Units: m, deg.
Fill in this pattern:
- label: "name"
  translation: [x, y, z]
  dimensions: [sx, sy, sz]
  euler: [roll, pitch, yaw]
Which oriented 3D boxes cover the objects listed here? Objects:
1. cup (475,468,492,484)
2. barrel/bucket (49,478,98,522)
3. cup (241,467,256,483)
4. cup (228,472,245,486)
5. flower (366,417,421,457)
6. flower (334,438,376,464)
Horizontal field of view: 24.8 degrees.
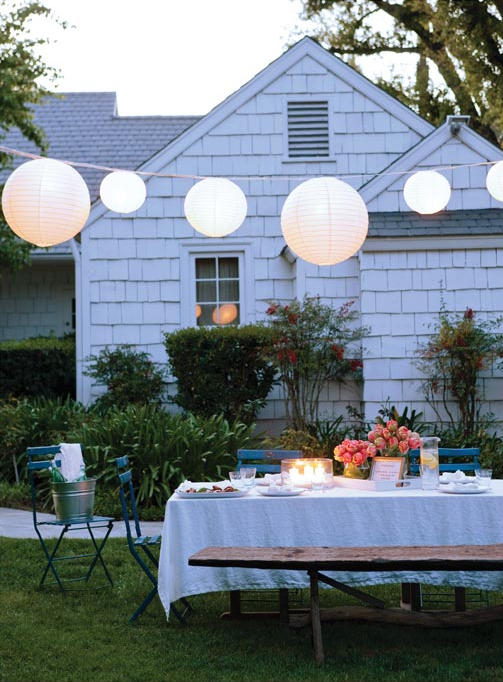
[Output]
- label: "cup"
  translation: [1.477, 0.846, 7.321]
  dimensions: [0.093, 0.075, 0.087]
  euler: [3, -9, 0]
- label: "barrel/bucket"
  translation: [-1.230, 1.091, 7.945]
  dimensions: [0.348, 0.280, 0.331]
  euler: [-3, -5, 0]
- label: "cup"
  translation: [-0.021, 0.852, 7.472]
  dimensions: [0.085, 0.094, 0.084]
  euler: [1, 3, 0]
- label: "cup"
  translation: [-0.100, 0.875, 7.440]
  dimensions: [0.081, 0.071, 0.089]
  euler: [-2, -6, 0]
- label: "flower"
  translation: [0.931, 0.622, 7.545]
  dimensions: [0.258, 0.266, 0.256]
  euler: [5, 3, 9]
- label: "flower"
  translation: [0.670, 0.706, 7.494]
  dimensions: [0.178, 0.125, 0.187]
  euler: [2, -6, -18]
